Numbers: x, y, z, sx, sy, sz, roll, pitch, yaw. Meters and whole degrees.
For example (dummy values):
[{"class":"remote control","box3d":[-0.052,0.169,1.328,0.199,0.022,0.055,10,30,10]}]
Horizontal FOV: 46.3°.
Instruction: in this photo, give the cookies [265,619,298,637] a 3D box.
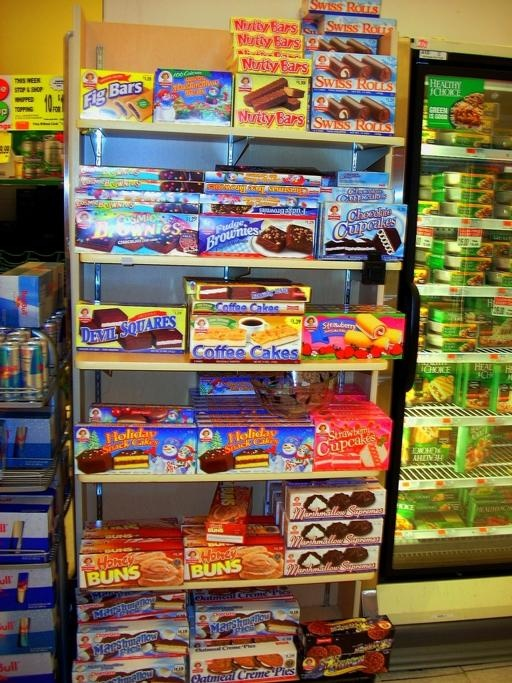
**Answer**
[{"class":"cookies","box3d":[0.098,1.007,2.117,0.092,0.025,0.063,3,6,-1]}]

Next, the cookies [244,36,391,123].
[{"class":"cookies","box3d":[0.181,-0.806,1.873,0.341,0.140,0.092,0,7,-9]}]
